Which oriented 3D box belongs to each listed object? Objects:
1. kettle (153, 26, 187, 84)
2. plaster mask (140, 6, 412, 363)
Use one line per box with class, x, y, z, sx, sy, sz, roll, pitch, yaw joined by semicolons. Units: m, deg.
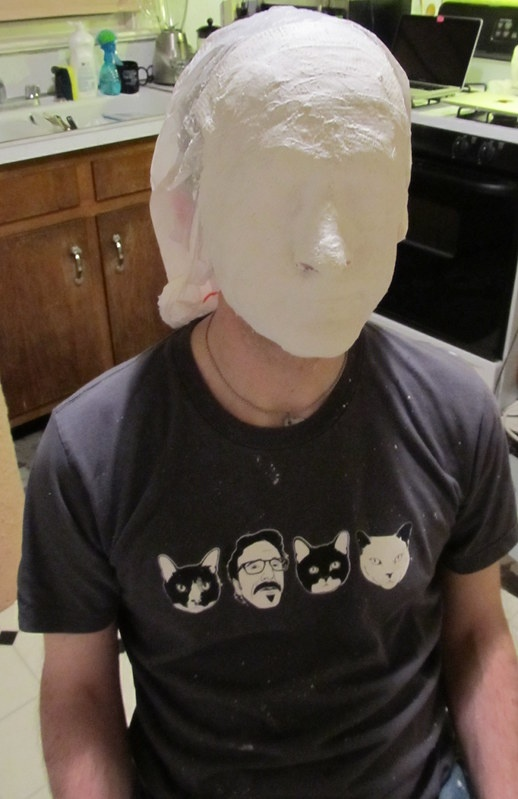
kettle;-0.341;-1.317;2.534;0.146;0.185;0.179;-13;30;-40
plaster mask;-0.007;-0.164;0.550;0.257;0.288;0.134;17;32;30
